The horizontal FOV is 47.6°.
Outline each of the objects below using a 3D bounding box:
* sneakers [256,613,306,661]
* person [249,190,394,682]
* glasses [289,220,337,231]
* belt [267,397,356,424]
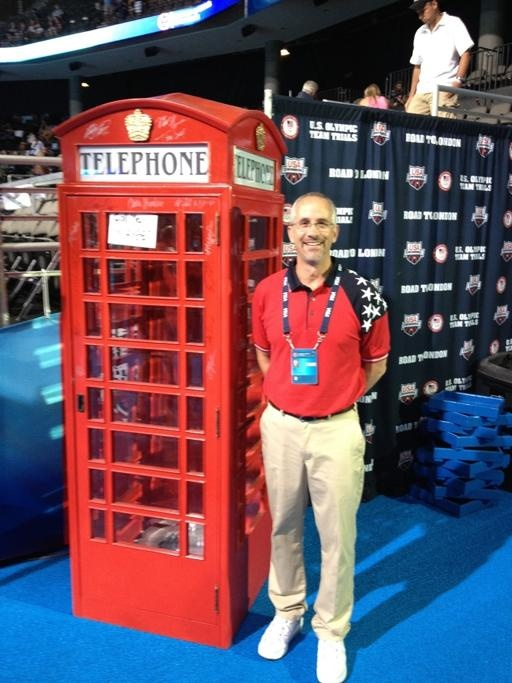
[{"bbox_3d":[0.105,1.183,2.334,0.092,0.099,0.245,6,-6,24],"label":"sneakers"},{"bbox_3d":[0.219,0.370,2.160,0.510,1.799,0.410,1,11,12],"label":"person"},{"bbox_3d":[0.207,-0.415,2.080,0.167,0.038,0.114,-1,10,2],"label":"glasses"},{"bbox_3d":[0.206,0.258,2.113,0.311,0.038,0.124,-1,10,2],"label":"belt"}]
